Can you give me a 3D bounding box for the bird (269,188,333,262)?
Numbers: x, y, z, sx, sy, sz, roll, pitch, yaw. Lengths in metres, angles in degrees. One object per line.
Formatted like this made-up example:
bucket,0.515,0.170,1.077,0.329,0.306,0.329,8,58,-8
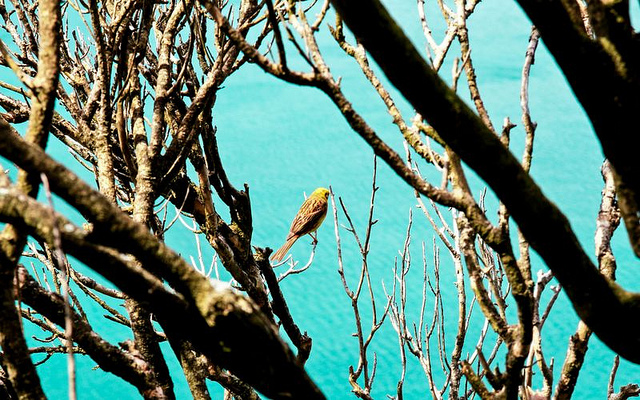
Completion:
bird,-0.162,0.194,9.298,0.501,0.608,0.940,-15,-4,9
